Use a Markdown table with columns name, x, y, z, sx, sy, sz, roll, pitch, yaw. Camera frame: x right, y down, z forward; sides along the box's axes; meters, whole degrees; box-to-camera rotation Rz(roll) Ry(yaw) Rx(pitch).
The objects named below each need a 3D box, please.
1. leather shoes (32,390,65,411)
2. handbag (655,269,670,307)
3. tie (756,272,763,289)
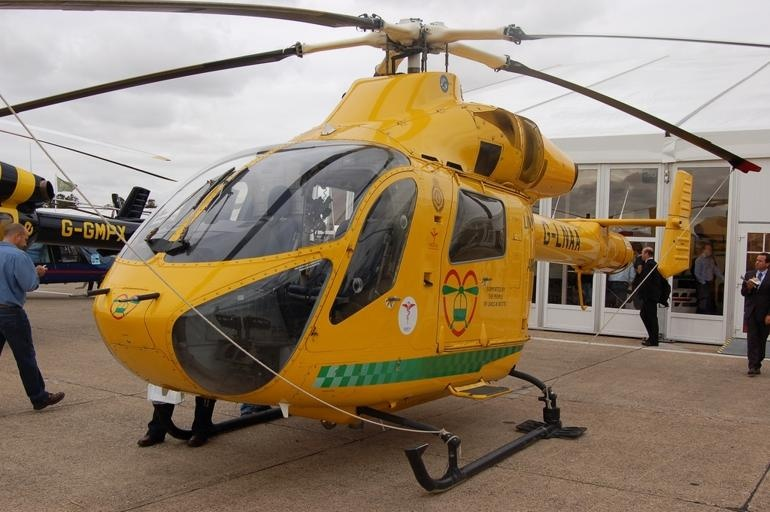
| name | x | y | z | sx | sy | sz | roll | pitch | yaw |
| --- | --- | --- | --- | --- | --- | --- | --- | --- | --- |
| leather shoes | -4.290 | 1.816 | 7.616 | 0.183 | 0.146 | 0.431 | 9 | 15 | 33 |
| handbag | 6.095 | 0.705 | 13.116 | 0.315 | 0.829 | 0.725 | 10 | -7 | 25 |
| tie | 6.223 | 0.403 | 9.905 | 0.100 | 0.107 | 0.329 | 1 | 31 | 38 |
